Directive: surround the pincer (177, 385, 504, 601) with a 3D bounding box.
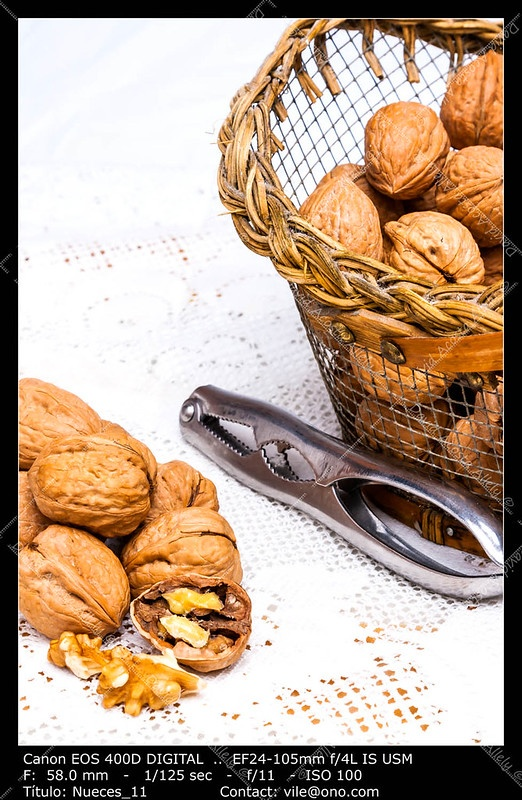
[{"bbox_3d":[0.089,0.101,0.784,0.356,0.058,0.099,23,5,23],"label":"pincer"}]

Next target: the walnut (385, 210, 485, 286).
[{"bbox_3d":[0.163,-0.136,0.780,0.097,0.071,0.058,35,10,5],"label":"walnut"}]

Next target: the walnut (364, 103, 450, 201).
[{"bbox_3d":[0.146,-0.264,0.804,0.086,0.101,0.064,0,-4,5],"label":"walnut"}]

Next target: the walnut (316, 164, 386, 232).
[{"bbox_3d":[0.097,-0.220,0.848,0.083,0.060,0.044,-4,-13,2],"label":"walnut"}]

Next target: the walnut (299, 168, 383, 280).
[{"bbox_3d":[0.084,-0.171,0.794,0.088,0.096,0.063,-8,-10,9],"label":"walnut"}]
